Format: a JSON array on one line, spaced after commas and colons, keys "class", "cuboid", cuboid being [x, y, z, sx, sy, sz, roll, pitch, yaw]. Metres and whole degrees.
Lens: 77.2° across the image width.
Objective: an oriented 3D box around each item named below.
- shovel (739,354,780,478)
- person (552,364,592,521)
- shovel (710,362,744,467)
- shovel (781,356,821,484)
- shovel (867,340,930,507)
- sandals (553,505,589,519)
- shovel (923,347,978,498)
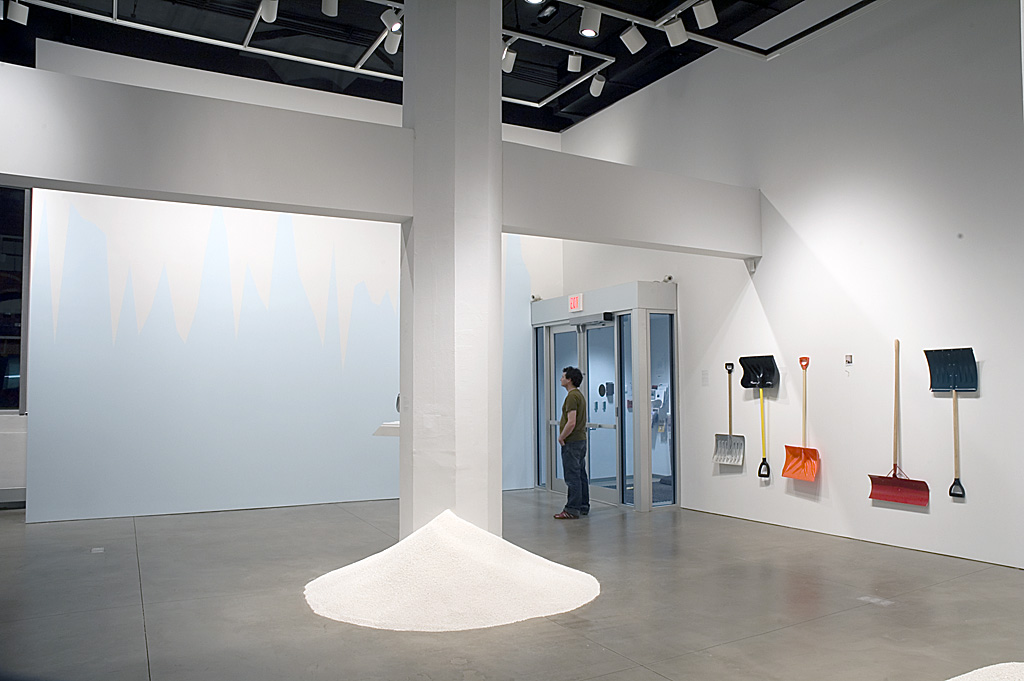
[{"class": "shovel", "cuboid": [3.209, 0.988, 8.342, 0.141, 1.614, 0.489, 1, -1, -39]}, {"class": "person", "cuboid": [0.799, 1.345, 8.640, 0.454, 1.984, 0.572, 0, -1, 6]}, {"class": "shovel", "cuboid": [2.981, 1.007, 8.720, 0.214, 1.386, 0.431, 4, -4, -39]}, {"class": "shovel", "cuboid": [3.543, 0.973, 7.924, 0.143, 1.553, 0.446, 0, -1, -32]}, {"class": "shovel", "cuboid": [4.210, 0.913, 7.096, 0.144, 1.747, 0.623, 0, -4, -31]}, {"class": "sandals", "cuboid": [0.758, 2.273, 8.584, 0.493, 0.224, 0.174, 5, -11, -13]}, {"class": "shovel", "cuboid": [4.587, 0.856, 6.705, 0.462, 1.586, 0.122, -1, -1, 36]}]
